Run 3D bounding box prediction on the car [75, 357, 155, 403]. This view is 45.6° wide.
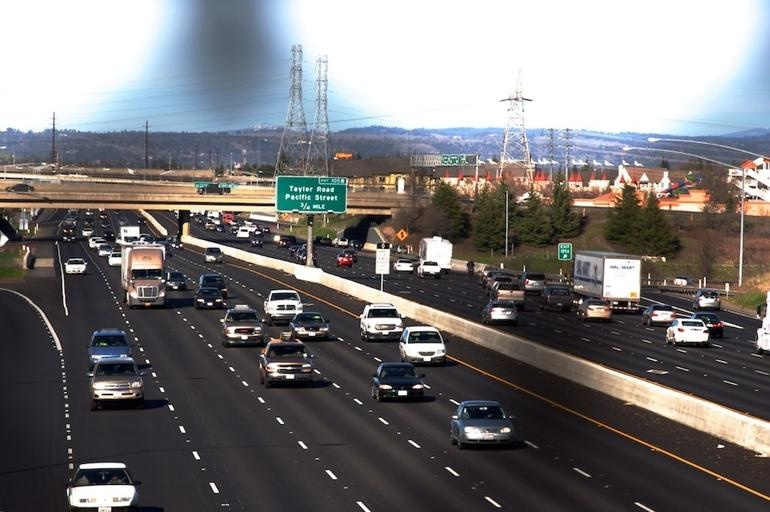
[{"bbox_3d":[-11.713,5.453,40.556,2.840,1.817,4.224,2,-3,-8],"label":"car"}]

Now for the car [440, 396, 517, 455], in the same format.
[{"bbox_3d":[3.594,6.312,34.603,2.383,1.624,3.667,3,16,3],"label":"car"}]
